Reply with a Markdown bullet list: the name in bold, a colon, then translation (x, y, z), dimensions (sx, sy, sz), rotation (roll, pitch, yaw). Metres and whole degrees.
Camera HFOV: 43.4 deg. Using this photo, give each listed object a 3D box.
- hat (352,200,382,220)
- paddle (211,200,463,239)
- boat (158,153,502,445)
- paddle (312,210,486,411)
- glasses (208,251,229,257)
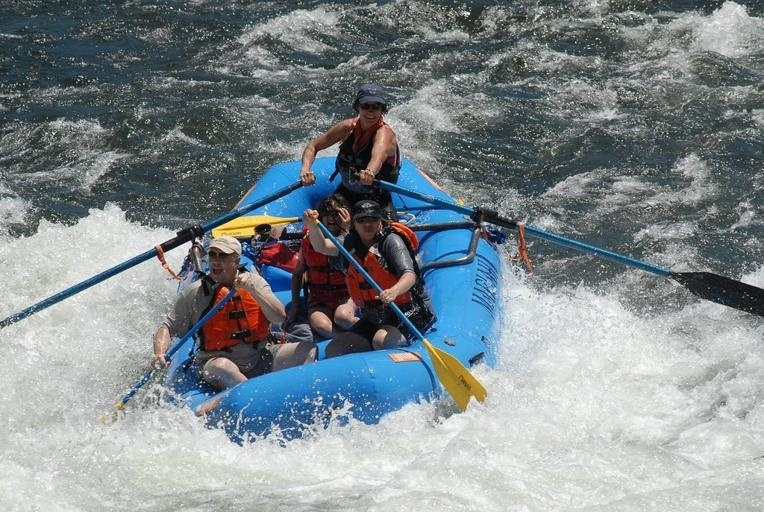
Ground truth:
- **hat**: translation (-0.135, -0.450, 9.609), dimensions (0.317, 0.416, 0.150), rotation (-1, 90, -1)
- **paddle**: translation (-0.998, -0.341, 10.940), dimensions (1.657, 0.271, 0.909), rotation (-11, 10, -23)
- **boat**: translation (-0.434, 1.006, 10.706), dimensions (2.793, 1.067, 3.748), rotation (-8, 16, 5)
- **paddle**: translation (0.290, 0.720, 9.922), dimensions (0.096, 0.528, 2.410), rotation (-60, 38, 15)
- **glasses**: translation (-1.543, -0.008, 9.165), dimensions (0.180, 0.062, 0.038), rotation (3, 57, 4)
